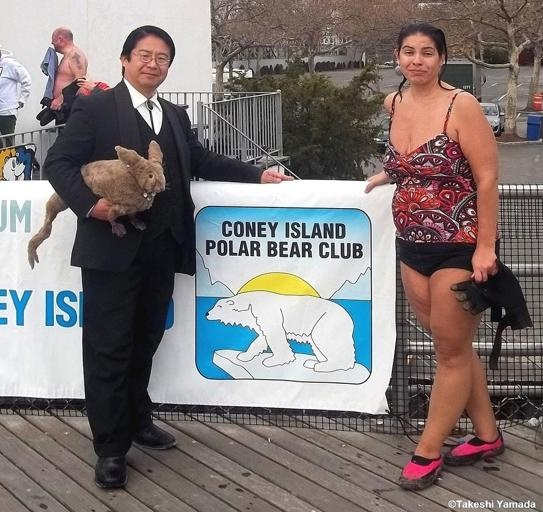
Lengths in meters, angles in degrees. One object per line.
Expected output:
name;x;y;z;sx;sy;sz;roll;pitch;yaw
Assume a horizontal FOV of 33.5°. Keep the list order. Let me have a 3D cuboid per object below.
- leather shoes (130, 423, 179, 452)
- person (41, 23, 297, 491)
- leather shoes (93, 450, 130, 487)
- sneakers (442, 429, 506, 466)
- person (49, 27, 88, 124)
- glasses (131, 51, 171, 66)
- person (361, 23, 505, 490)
leather shoes;-0.667;1.040;5.133;0.275;0.112;0.111;1;0;19
person;-0.709;-0.039;4.894;0.439;2.347;0.999;8;14;40
leather shoes;-0.842;1.124;4.687;0.170;0.159;0.120;-4;11;-14
sneakers;1.113;1.060;4.940;0.375;0.151;0.136;-8;3;-20
person;-2.961;-2.349;13.101;0.563;1.862;0.817;-2;13;-14
glasses;-0.612;-1.025;4.688;0.189;0.075;0.064;-10;14;-35
person;0.858;0.016;4.579;0.597;2.339;0.421;2;11;18
